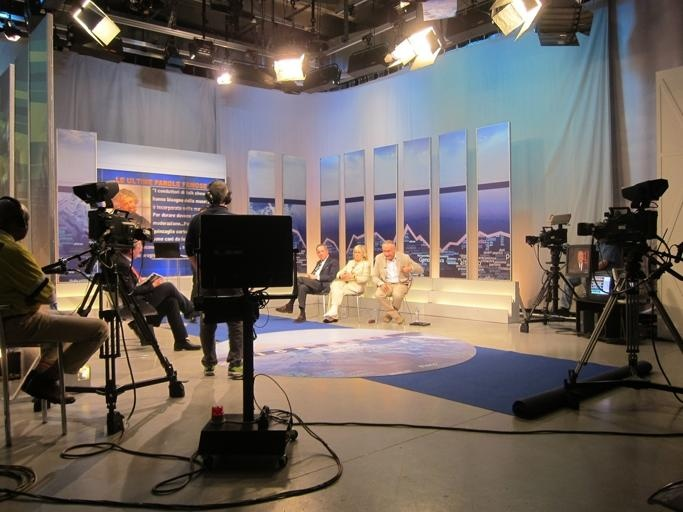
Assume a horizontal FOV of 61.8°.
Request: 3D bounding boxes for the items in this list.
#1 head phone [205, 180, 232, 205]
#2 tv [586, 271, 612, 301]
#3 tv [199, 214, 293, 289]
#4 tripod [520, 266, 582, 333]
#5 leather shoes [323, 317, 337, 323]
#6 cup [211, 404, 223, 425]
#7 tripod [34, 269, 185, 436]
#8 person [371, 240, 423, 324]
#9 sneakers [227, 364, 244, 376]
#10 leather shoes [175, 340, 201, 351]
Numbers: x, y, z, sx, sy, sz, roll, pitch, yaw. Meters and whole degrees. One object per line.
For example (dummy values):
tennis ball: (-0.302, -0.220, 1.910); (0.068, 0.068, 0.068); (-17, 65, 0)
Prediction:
head phone: (-1.168, -0.590, 5.374); (0.215, 0.231, 0.227); (-2, 9, -15)
tv: (3.215, 0.365, 7.097); (0.189, 0.369, 0.351); (0, 2, -16)
tv: (-0.666, -0.030, 3.870); (0.456, 0.408, 0.154); (-1, 0, -1)
tripod: (2.802, 0.546, 7.947); (0.859, 1.145, 0.842); (1, -1, 16)
leather shoes: (-0.176, 0.982, 8.752); (0.073, 0.088, 0.201); (-7, -12, 41)
cup: (-0.851, 1.094, 3.964); (0.107, 0.120, 0.109); (1, 1, 0)
tripod: (-1.988, 0.750, 4.872); (1.086, 1.463, 1.051); (0, -2, -40)
person: (1.105, 0.399, 8.963); (0.965, 1.547, 1.058); (-3, -2, 14)
sneakers: (-1.008, 1.089, 5.406); (0.125, 0.107, 0.156); (-3, 9, -19)
leather shoes: (-1.786, 1.029, 6.595); (0.337, 0.156, 0.124); (0, -3, -11)
